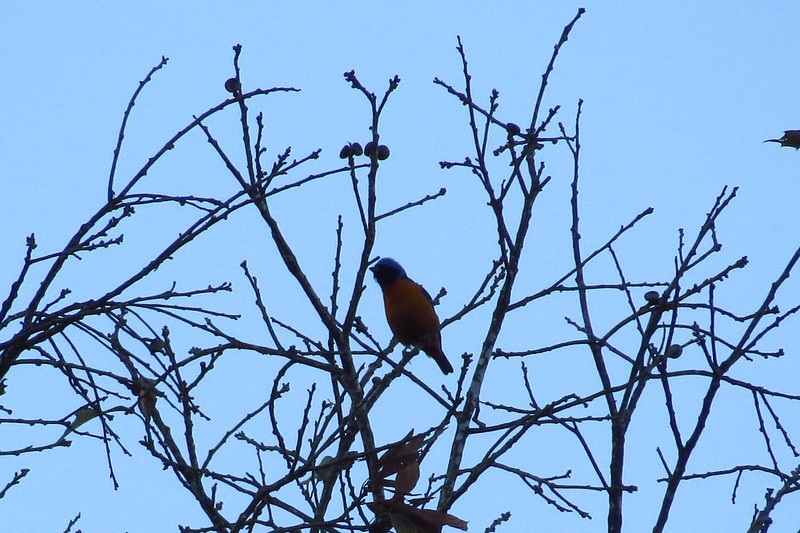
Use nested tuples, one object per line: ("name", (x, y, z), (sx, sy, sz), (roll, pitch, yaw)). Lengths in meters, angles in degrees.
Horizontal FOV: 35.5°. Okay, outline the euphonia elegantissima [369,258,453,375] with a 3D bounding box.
("euphonia elegantissima", (0.124, 0.400, 10.025), (0.367, 0.580, 1.258), (-17, -38, 23))
